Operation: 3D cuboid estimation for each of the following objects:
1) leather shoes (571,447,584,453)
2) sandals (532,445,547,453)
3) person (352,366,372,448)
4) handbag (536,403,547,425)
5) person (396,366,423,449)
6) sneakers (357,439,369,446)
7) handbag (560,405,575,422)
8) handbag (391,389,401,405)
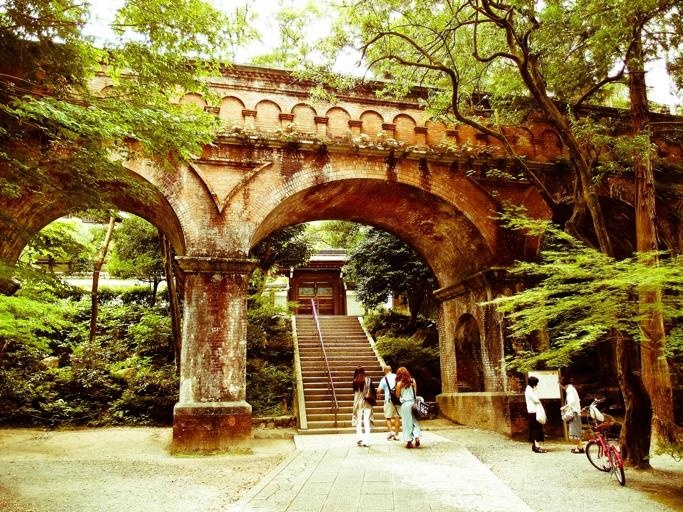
[{"bbox_3d":[5.322,4.362,12.747,0.219,0.084,0.126,0,-21,8],"label":"leather shoes"},{"bbox_3d":[4.538,4.392,12.956,0.363,0.142,0.120,3,-11,-12],"label":"sandals"},{"bbox_3d":[0.488,3.478,13.176,0.420,1.773,0.529,1,-15,-2],"label":"person"},{"bbox_3d":[4.810,3.780,13.674,0.191,0.482,0.713,-6,-16,22],"label":"handbag"},{"bbox_3d":[1.498,3.410,12.837,0.505,1.752,0.657,-1,-15,5],"label":"person"},{"bbox_3d":[0.480,4.285,13.019,0.389,0.134,0.172,-14,-20,41],"label":"sneakers"},{"bbox_3d":[5.200,3.638,13.105,0.304,0.382,0.416,0,-25,9],"label":"handbag"},{"bbox_3d":[1.272,3.311,13.255,0.356,0.338,0.256,0,-5,20],"label":"handbag"}]
